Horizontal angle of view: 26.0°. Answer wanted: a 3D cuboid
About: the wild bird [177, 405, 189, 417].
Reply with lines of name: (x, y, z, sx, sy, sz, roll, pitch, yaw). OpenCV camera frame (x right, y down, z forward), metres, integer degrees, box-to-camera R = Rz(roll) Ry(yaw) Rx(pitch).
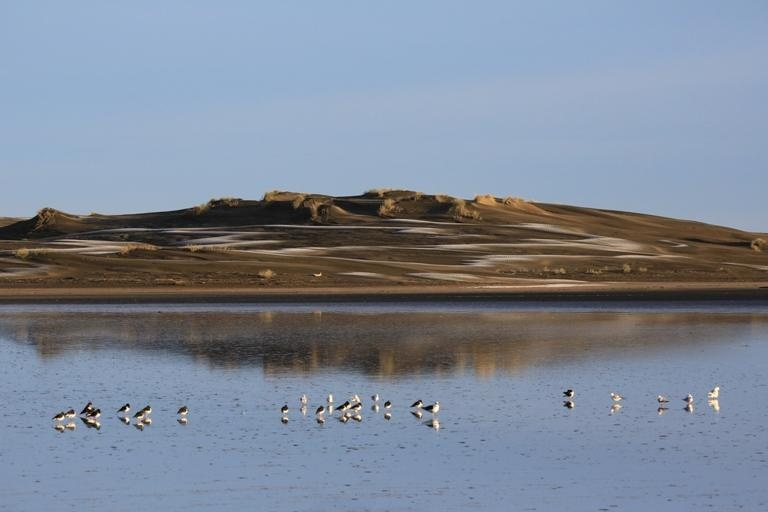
wild bird: (-6.993, 5.459, 57.774, 0.438, 0.243, 0.711, 1, -4, -2)

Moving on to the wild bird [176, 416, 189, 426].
wild bird: (-6.926, 5.729, 57.207, 0.380, 0.414, 0.222, 1, -38, -6)
